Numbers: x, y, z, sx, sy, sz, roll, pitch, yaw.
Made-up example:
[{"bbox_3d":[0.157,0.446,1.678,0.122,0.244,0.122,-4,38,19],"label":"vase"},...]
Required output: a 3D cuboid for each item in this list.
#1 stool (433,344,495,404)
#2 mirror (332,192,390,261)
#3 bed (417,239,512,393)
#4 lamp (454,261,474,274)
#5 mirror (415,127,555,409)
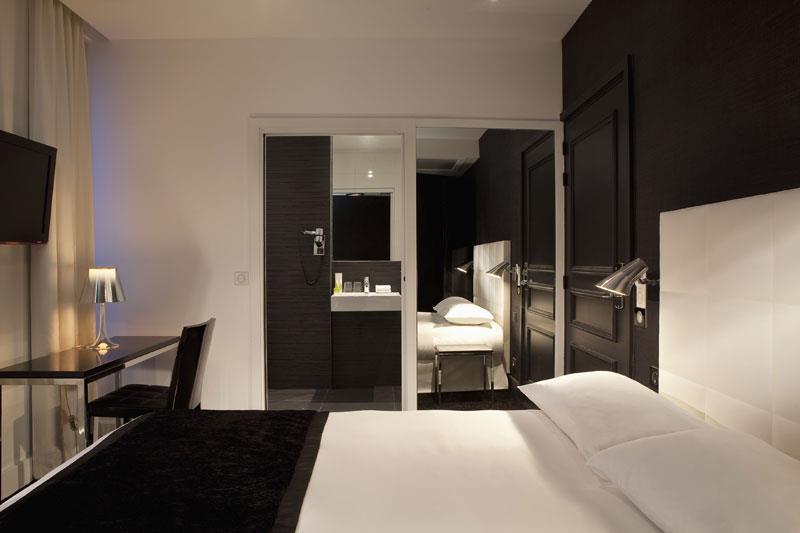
[{"bbox_3d":[0.538,0.896,4.550,0.441,0.382,0.314,-2,-9,-2],"label":"stool"},{"bbox_3d":[-0.409,-0.433,5.500,0.619,0.772,0.071,0,3,-6],"label":"mirror"},{"bbox_3d":[0.364,0.428,4.894,0.999,1.125,1.100,0,-1,-4],"label":"bed"},{"bbox_3d":[0.536,0.008,4.563,0.139,0.114,0.080,1,13,-19],"label":"lamp"},{"bbox_3d":[0.766,-0.033,4.486,1.035,1.859,1.213,-8,8,-28],"label":"mirror"}]
